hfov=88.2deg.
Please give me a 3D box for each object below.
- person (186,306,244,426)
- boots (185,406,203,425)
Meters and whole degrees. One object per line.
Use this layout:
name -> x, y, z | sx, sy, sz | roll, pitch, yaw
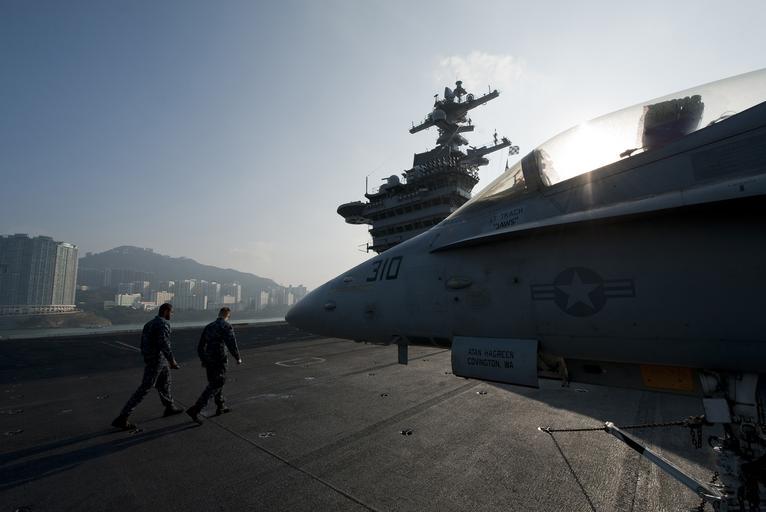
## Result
person -> -3.325, 2.100, 7.730 | 0.836, 2.166, 0.868 | 3, -8, -24
boots -> -3.635, 3.022, 7.577 | 0.258, 0.352, 0.550 | 3, -7, -25
